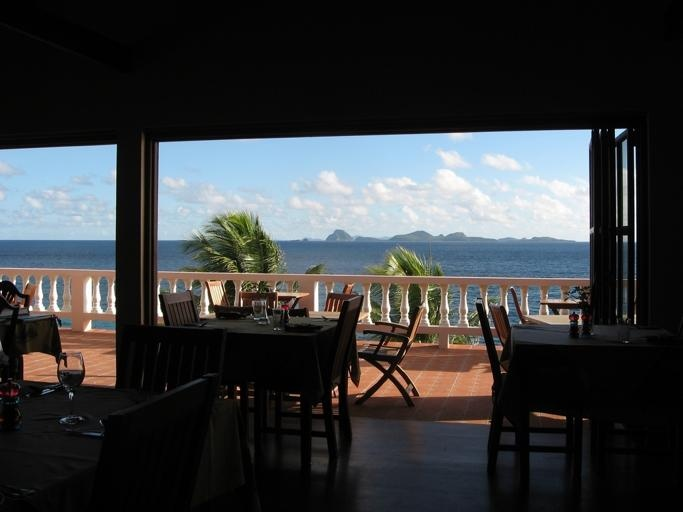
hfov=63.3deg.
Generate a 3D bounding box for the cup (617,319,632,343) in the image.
[{"bbox_3d":[1.773,0.477,3.479,0.093,0.152,0.096,0,-5,0],"label":"cup"}]

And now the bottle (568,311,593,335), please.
[{"bbox_3d":[1.589,0.454,3.697,0.191,0.193,0.105,0,2,18],"label":"bottle"}]

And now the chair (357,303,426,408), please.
[{"bbox_3d":[0.528,0.909,5.499,0.843,1.217,0.869,2,-3,11],"label":"chair"}]
